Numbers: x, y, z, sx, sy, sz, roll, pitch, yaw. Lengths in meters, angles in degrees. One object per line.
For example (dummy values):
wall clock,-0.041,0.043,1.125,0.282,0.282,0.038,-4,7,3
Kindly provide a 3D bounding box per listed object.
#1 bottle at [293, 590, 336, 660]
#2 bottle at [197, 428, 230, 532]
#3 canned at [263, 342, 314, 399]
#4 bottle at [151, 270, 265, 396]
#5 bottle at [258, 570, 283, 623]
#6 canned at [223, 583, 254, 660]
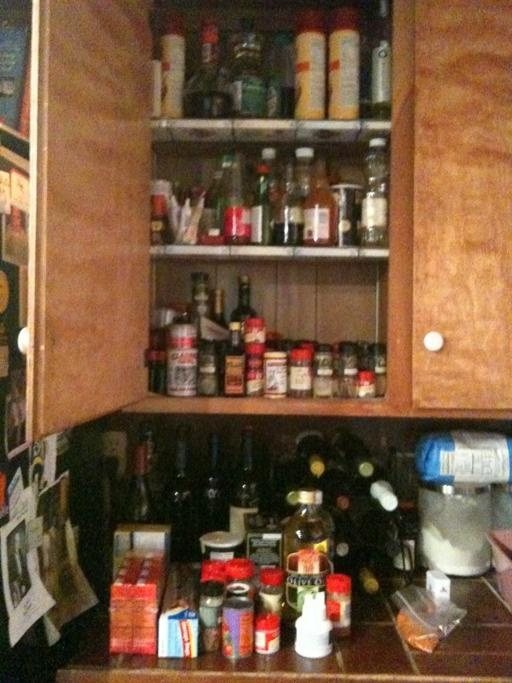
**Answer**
bottle,0.101,0.504,1.314,0.073,0.106,0.073,1,1,0
bottle,-0.105,0.344,1.727,0.069,0.256,0.061,9,16,22
canned,0.064,0.066,1.460,0.070,0.119,0.124,-1,0,-22
bottle,-0.139,-0.012,1.554,0.282,0.294,0.201,0,1,-26
bottle,0.031,0.477,1.373,0.054,0.087,0.051,2,-6,0
canned,-0.034,0.510,1.304,0.060,0.095,0.061,2,-1,29
